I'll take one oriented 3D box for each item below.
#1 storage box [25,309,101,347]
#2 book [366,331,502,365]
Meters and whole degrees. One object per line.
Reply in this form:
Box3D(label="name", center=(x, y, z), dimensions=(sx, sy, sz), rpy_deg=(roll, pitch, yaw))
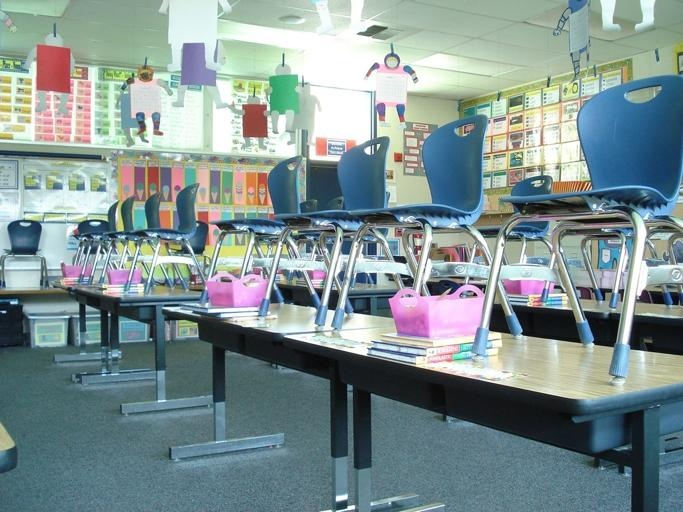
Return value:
Box3D(label="storage box", center=(-3.064, 0.776, 5.810), dimensions=(0.653, 0.257, 0.430), rpy_deg=(1, -1, -24))
Box3D(label="book", center=(0.192, 0.237, 1.329), dimensions=(0.272, 0.060, 0.163), rpy_deg=(1, 9, 13))
